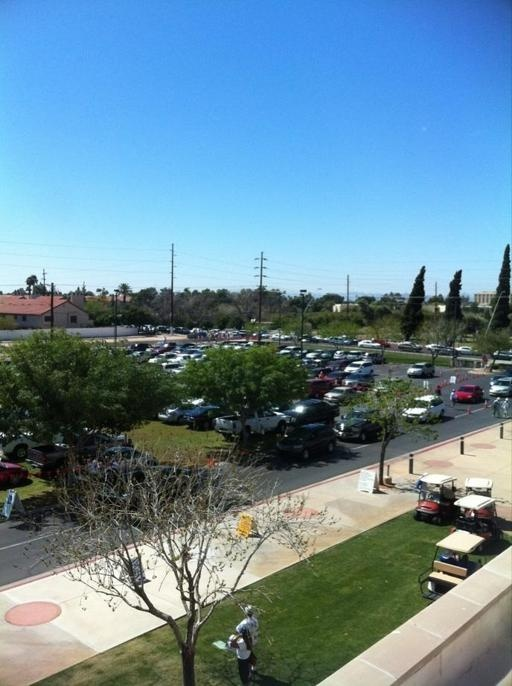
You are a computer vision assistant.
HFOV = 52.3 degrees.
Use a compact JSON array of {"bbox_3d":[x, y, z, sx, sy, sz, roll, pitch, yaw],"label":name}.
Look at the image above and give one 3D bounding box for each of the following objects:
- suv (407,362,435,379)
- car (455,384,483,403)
[{"bbox_3d":[16.807,2.915,53.358,1.528,1.181,3.199,0,0,38],"label":"suv"},{"bbox_3d":[16.913,4.151,41.318,1.232,0.842,2.715,-2,-5,32],"label":"car"}]
